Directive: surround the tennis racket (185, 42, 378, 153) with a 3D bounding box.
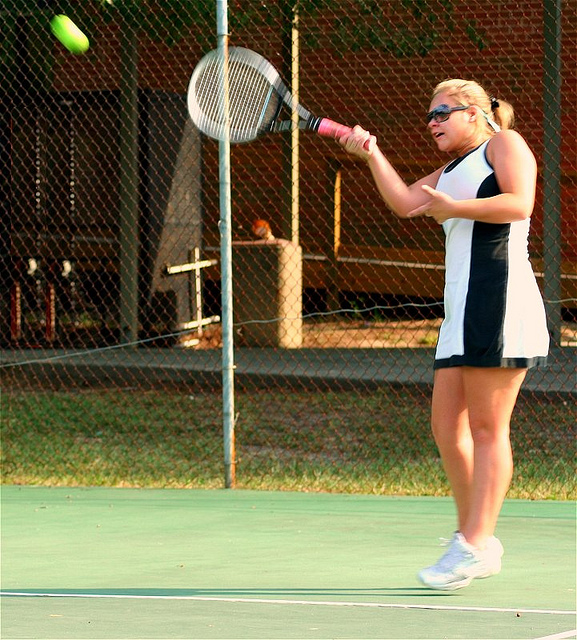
[{"bbox_3d":[0.009,-0.904,4.724,1.096,0.357,0.103,11,9,-38],"label":"tennis racket"}]

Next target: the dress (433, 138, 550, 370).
[{"bbox_3d":[0.616,-0.078,3.259,0.353,0.536,0.231,-1,0,6],"label":"dress"}]

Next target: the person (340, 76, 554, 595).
[{"bbox_3d":[0.559,0.045,3.724,0.591,1.400,1.285,-1,0,4],"label":"person"}]

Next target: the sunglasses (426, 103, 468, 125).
[{"bbox_3d":[0.489,-0.650,3.347,0.133,0.058,0.051,-1,1,31],"label":"sunglasses"}]

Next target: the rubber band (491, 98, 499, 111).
[{"bbox_3d":[0.662,-0.693,3.410,0.023,0.031,0.021,-1,0,14],"label":"rubber band"}]
